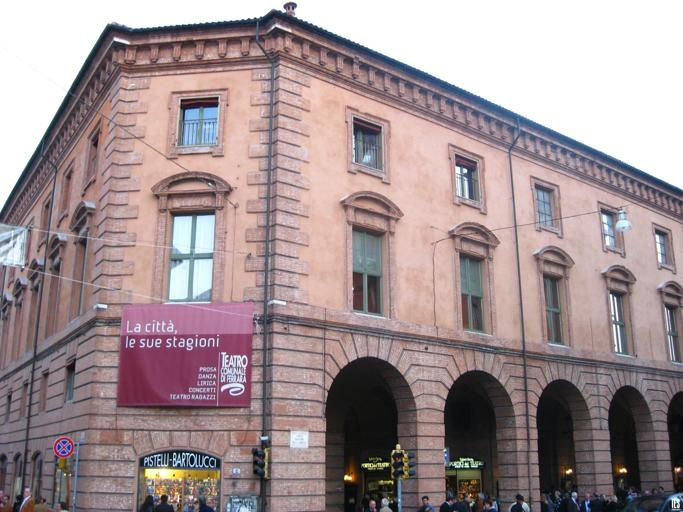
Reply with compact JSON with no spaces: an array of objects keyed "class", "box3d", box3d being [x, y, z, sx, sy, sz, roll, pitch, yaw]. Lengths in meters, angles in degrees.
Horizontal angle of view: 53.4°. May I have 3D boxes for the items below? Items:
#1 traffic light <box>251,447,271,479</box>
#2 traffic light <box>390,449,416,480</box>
[{"class":"traffic light","box3d":[-2.483,6.421,21.257,0.508,0.958,0.877,-2,-25,3]},{"class":"traffic light","box3d":[2.212,7.299,24.008,0.828,1.261,2.813,-4,-25,6]}]
